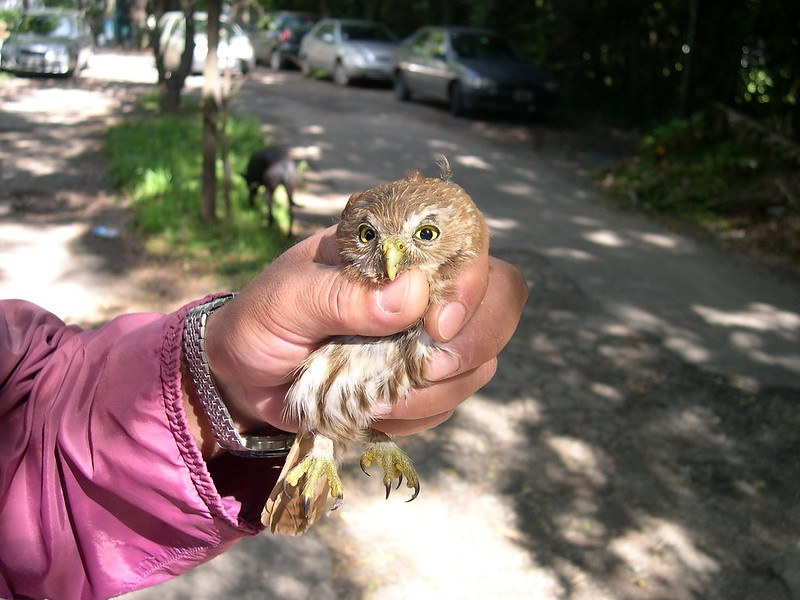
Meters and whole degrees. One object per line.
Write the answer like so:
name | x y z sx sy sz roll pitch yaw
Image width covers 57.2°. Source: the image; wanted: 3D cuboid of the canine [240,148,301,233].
canine | -1.111 -0.918 6.329 0.457 0.708 0.594 -1 20 -4

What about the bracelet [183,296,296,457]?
bracelet | -0.417 0.218 2.005 0.278 0.416 0.312 15 19 28

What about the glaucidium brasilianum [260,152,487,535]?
glaucidium brasilianum | -0.061 0.167 1.942 0.423 1.075 0.606 3 9 -27

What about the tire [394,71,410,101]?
tire | 0.006 -0.658 2.229 0.032 0.107 0.102 -4 3 2
